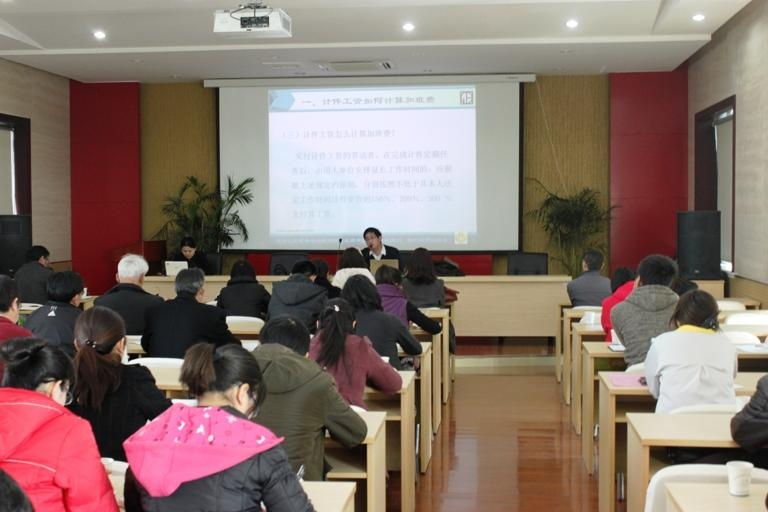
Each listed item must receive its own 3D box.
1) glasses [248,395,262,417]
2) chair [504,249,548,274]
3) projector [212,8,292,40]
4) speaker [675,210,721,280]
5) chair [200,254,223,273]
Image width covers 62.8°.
[{"bbox_3d":[-0.506,0.602,2.548,0.060,0.086,0.065,8,-24,0],"label":"glasses"},{"bbox_3d":[1.942,0.106,8.492,0.511,0.271,0.136,-2,6,-2],"label":"chair"},{"bbox_3d":[-1.292,-2.318,6.191,0.660,0.296,0.320,-1,6,6],"label":"projector"},{"bbox_3d":[3.811,-0.129,7.592,0.479,0.808,0.230,2,7,26],"label":"speaker"},{"bbox_3d":[-2.434,0.109,8.975,0.228,0.345,0.264,1,-4,-2],"label":"chair"}]
